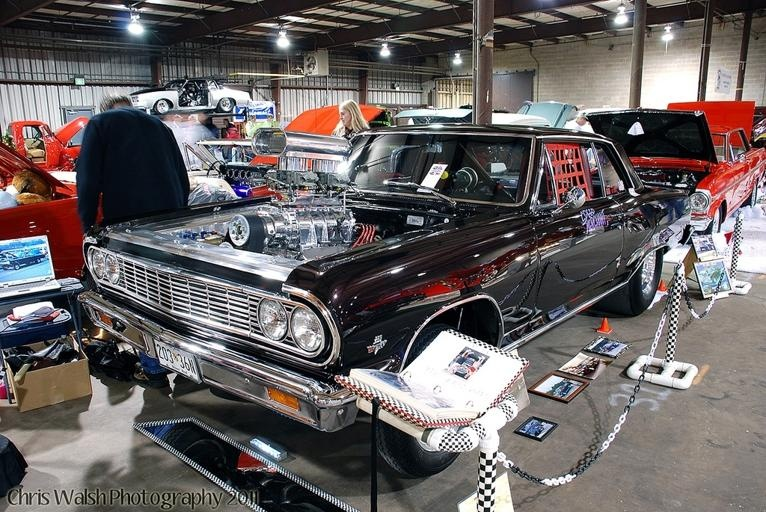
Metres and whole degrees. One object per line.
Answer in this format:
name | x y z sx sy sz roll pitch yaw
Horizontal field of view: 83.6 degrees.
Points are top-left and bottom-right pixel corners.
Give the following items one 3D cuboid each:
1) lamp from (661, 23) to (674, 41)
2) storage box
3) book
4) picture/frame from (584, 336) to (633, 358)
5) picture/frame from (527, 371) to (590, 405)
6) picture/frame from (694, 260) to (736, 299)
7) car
lamp | 12.549 -9.795 18.568 0.467 0.678 1.334 9 18 30
storage box | -2.451 0.866 3.205 0.528 0.267 0.487 -11 21 -37
book | 0.240 0.558 1.868 0.706 0.223 0.445 -14 20 -41
picture/frame | 2.032 0.829 3.860 0.202 0.024 0.202 -23 22 -40
picture/frame | 1.378 1.010 3.320 0.322 0.014 0.364 5 20 42
picture/frame | 3.744 0.273 4.782 0.426 0.419 0.043 -17 15 -3
car | 0.674 -0.023 3.486 4.415 1.238 2.391 -13 17 -42
